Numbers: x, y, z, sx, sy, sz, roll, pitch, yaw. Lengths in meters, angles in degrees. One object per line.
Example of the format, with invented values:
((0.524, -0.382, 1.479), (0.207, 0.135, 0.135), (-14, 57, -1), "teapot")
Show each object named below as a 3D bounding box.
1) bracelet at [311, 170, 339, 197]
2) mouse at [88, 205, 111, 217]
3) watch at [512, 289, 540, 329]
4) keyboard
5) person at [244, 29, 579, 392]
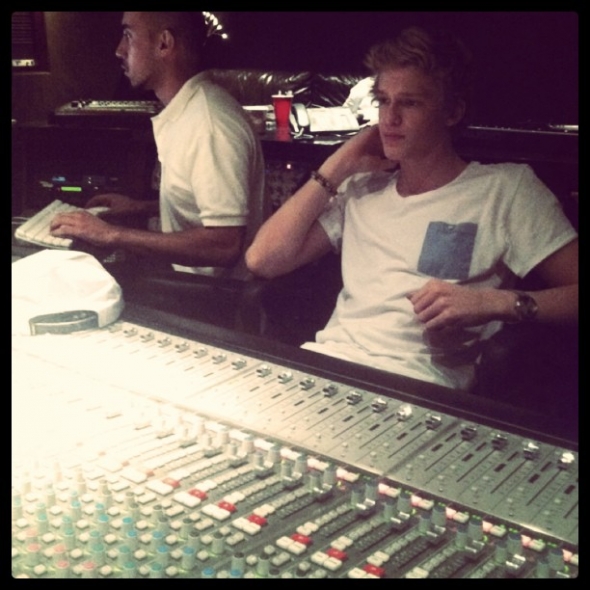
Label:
((0.087, -0.333, 1.758), (0.079, 0.034, 0.064), (42, -5, -1), "bracelet")
((-0.699, -0.297, 2.083), (0.065, 0.015, 0.064), (26, 34, 30), "mouse")
((0.572, 0.029, 1.461), (0.059, 0.066, 0.040), (-8, 4, -1), "watch")
((-0.707, -0.207, 1.698), (0.138, 0.028, 0.213), (11, 28, 3), "keyboard")
((0.294, -0.239, 1.585), (0.521, 0.887, 0.784), (-7, 15, -39), "person")
